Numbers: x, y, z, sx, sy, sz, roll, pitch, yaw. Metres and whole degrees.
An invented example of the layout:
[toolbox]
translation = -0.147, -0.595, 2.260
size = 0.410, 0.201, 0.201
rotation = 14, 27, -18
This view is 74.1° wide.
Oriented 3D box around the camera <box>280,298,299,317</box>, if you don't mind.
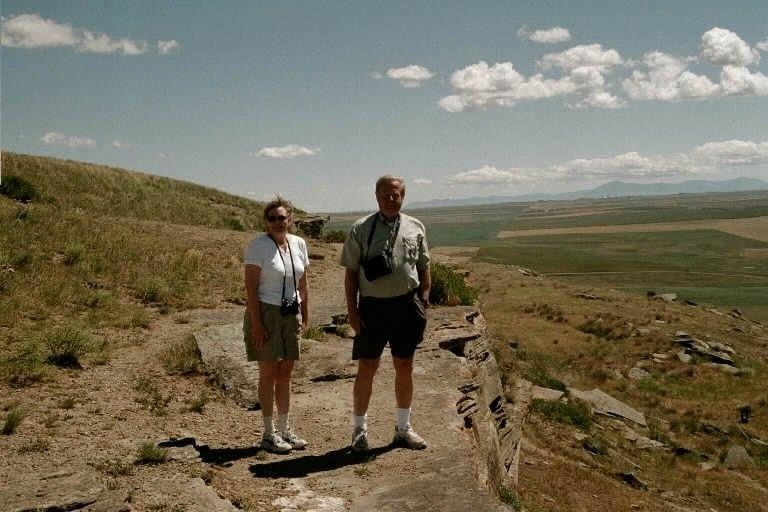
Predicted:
[camera]
translation = -1.465, 0.751, 7.874
size = 0.351, 0.298, 0.233
rotation = 2, -5, -19
